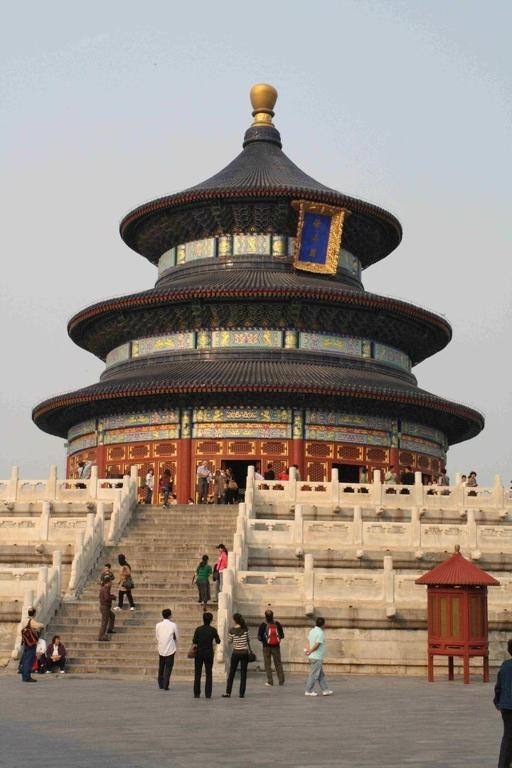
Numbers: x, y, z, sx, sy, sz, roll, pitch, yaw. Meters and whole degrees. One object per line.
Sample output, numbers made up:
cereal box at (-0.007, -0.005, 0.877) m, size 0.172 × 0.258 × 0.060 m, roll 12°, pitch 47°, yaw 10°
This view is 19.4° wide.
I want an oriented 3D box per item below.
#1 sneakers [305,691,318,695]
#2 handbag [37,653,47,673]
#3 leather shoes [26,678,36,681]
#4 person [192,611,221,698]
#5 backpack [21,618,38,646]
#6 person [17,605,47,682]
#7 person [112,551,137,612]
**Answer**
sneakers at (0.684, 3.950, 19.075) m, size 0.155 × 0.070 × 0.059 m, roll 2°, pitch 0°, yaw -1°
handbag at (-3.088, 3.990, 21.340) m, size 0.113 × 0.299 × 0.128 m, roll -14°, pitch -52°, yaw 10°
leather shoes at (-3.091, 4.034, 20.399) m, size 0.114 × 0.052 × 0.043 m, roll 5°, pitch -8°, yaw 3°
person at (-0.671, 3.444, 18.961) m, size 0.337 × 1.094 × 0.784 m, roll 3°, pitch -13°, yaw -2°
backpack at (-3.140, 3.433, 20.594) m, size 0.227 × 0.374 × 0.350 m, roll 5°, pitch -14°, yaw -9°
person at (-3.128, 3.577, 20.659) m, size 0.284 × 0.984 × 0.326 m, roll 3°, pitch 1°, yaw -20°
person at (-2.184, 3.260, 24.368) m, size 0.418 × 1.038 × 0.310 m, roll 3°, pitch -32°, yaw 1°
